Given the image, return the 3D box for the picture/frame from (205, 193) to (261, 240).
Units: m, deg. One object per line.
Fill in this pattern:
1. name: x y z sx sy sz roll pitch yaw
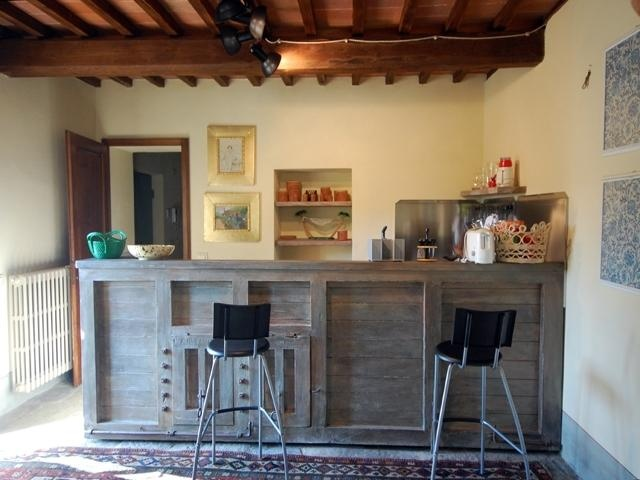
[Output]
1. picture/frame: -0.982 -0.291 6.508 0.492 0.469 0.045 0 1 1

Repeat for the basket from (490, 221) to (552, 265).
1. basket: 1.668 -0.001 4.687 0.432 0.310 0.411 3 4 7

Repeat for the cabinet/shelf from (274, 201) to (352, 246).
1. cabinet/shelf: -0.071 -0.205 6.685 0.908 0.485 0.324 0 7 -4

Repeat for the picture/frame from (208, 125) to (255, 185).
1. picture/frame: -1.003 -1.009 6.488 0.603 0.771 0.096 1 5 0

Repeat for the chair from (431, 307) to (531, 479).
1. chair: 1.254 1.161 4.385 0.774 1.389 0.697 1 5 12

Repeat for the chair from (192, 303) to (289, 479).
1. chair: -0.635 1.147 4.503 0.751 1.415 0.633 -1 5 -4

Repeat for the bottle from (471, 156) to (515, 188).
1. bottle: 1.770 -0.678 5.720 0.155 0.308 0.515 -2 5 -25

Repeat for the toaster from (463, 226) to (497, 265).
1. toaster: 1.316 0.040 4.691 0.187 0.290 0.280 -4 6 -12

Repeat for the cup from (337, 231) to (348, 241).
1. cup: 0.268 -0.054 6.577 0.127 0.112 0.120 0 5 0
